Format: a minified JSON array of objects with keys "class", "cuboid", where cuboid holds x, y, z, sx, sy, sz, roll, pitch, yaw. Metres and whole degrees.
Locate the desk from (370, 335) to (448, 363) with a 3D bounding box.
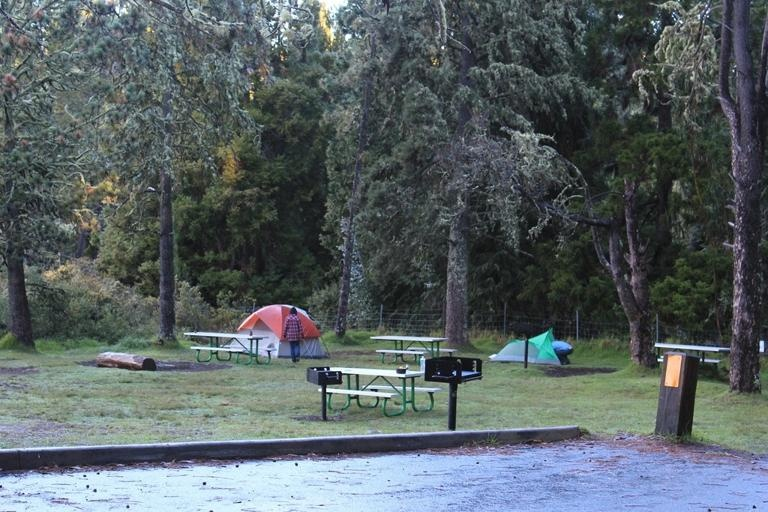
[{"class":"desk","cuboid":[1.008,3.601,51.717,4.400,1.504,1.913,2,-3,-6]}]
